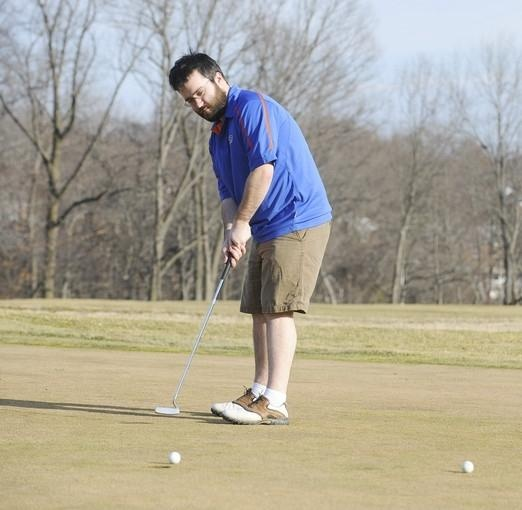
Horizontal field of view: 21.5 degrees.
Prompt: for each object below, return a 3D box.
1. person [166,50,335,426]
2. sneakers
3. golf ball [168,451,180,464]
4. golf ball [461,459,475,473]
[{"bbox_3d":[-0.037,-0.103,7.267,0.777,1.863,0.644,3,10,9],"label":"person"},{"bbox_3d":[-0.046,0.812,7.170,0.243,0.127,0.204,7,-8,-12],"label":"sneakers"},{"bbox_3d":[-0.411,0.956,6.548,0.043,0.052,0.056,16,-1,6],"label":"golf ball"},{"bbox_3d":[0.981,0.994,6.527,0.043,0.064,0.048,0,5,-4],"label":"golf ball"}]
